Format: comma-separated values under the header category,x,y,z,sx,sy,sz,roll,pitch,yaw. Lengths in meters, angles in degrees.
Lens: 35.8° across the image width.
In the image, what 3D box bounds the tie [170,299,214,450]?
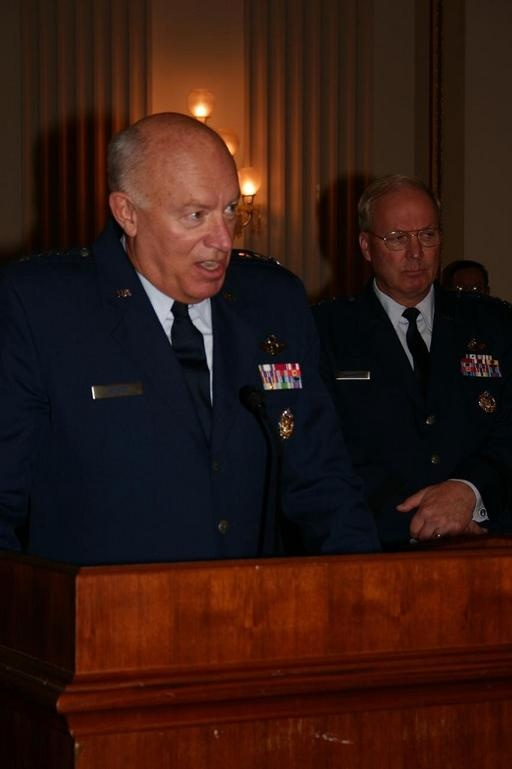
category,x,y,z,sx,sy,sz,roll,pitch,yaw
tie,-0.116,-0.017,1.387,0.060,0.258,0.046,-7,-19,-20
